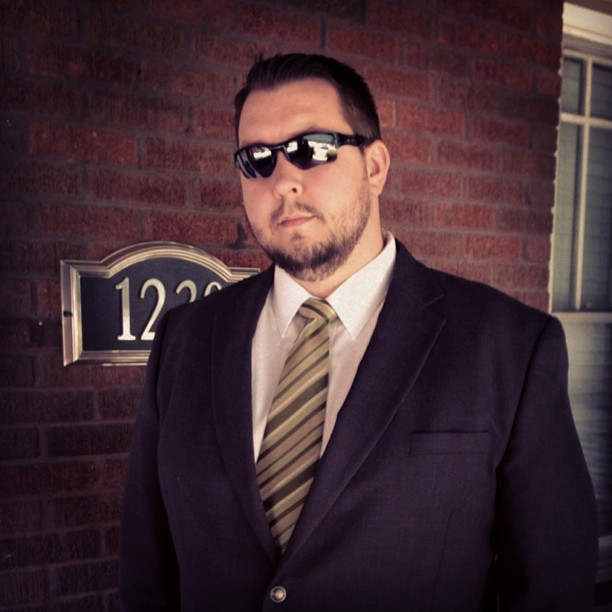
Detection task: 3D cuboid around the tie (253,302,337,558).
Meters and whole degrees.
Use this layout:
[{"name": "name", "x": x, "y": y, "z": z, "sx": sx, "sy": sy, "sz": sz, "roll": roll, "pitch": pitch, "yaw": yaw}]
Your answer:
[{"name": "tie", "x": -0.028, "y": 0.329, "z": 2.004, "sx": 0.150, "sy": 0.676, "sz": 0.063, "roll": 2, "pitch": -26, "yaw": 16}]
